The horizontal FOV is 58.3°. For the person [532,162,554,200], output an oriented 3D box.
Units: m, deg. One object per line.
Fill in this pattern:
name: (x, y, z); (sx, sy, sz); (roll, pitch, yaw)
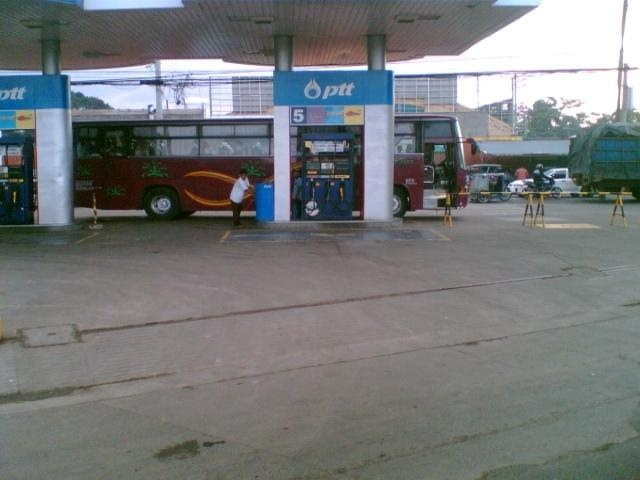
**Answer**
person: (12.380, -3.487, 31.927); (1.111, 1.510, 2.518); (3, 9, 20)

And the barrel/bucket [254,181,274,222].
barrel/bucket: (-1.809, -1.232, 18.729); (0.650, 1.228, 0.382); (0, 8, 6)

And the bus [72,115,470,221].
bus: (-1.843, -2.544, 20.622); (14.114, 3.867, 4.267); (1, 9, 9)
